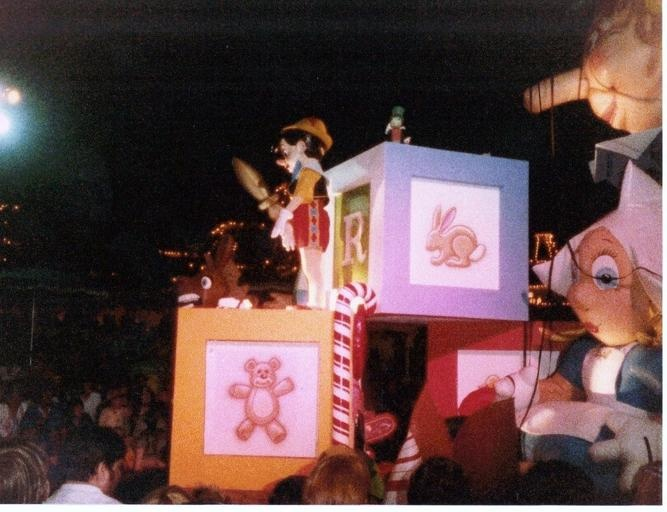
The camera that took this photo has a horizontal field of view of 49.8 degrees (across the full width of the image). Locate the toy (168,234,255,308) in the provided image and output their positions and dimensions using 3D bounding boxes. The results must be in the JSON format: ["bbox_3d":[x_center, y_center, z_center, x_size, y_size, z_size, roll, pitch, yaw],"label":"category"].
[{"bbox_3d":[-0.840,0.113,5.015,0.428,0.660,0.416,12,-12,-34],"label":"toy"}]
